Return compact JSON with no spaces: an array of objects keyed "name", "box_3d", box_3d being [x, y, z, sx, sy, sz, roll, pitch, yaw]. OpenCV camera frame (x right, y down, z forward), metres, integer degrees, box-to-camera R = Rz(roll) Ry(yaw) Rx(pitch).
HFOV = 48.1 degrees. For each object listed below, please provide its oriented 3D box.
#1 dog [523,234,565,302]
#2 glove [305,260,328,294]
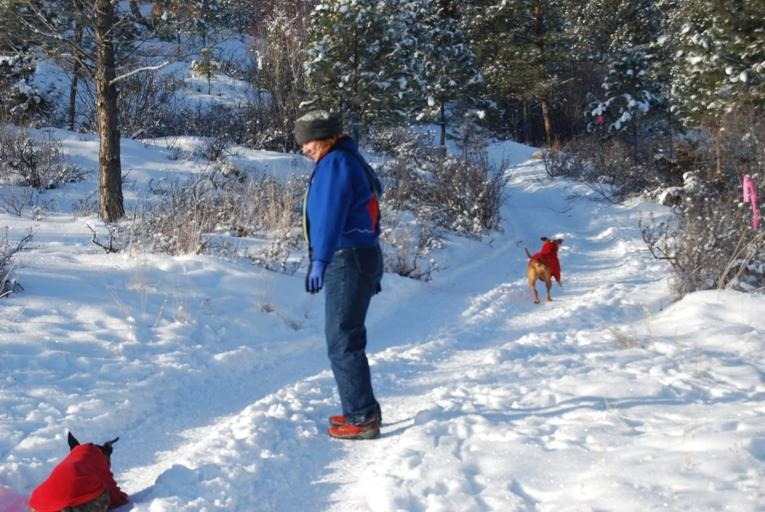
[{"name":"dog","box_3d":[4.571,0.389,24.261,0.767,1.513,2.775,0,12,24]},{"name":"glove","box_3d":[-1.562,0.502,19.429,0.459,0.228,0.846,-6,36,5]}]
